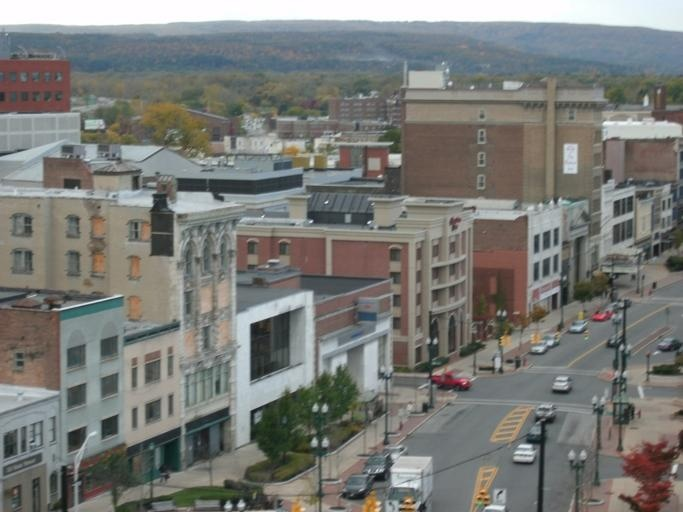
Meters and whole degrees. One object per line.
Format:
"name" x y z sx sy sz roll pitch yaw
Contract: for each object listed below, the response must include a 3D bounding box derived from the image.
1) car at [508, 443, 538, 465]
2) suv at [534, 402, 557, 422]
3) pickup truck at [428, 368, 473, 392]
"car" 21.115 23.083 234.112 2.565 1.894 3.001 2 10 17
"suv" 24.818 19.163 245.276 1.769 1.364 3.631 1 -3 16
"pickup truck" 13.803 16.176 257.526 4.302 1.607 2.528 1 8 15
